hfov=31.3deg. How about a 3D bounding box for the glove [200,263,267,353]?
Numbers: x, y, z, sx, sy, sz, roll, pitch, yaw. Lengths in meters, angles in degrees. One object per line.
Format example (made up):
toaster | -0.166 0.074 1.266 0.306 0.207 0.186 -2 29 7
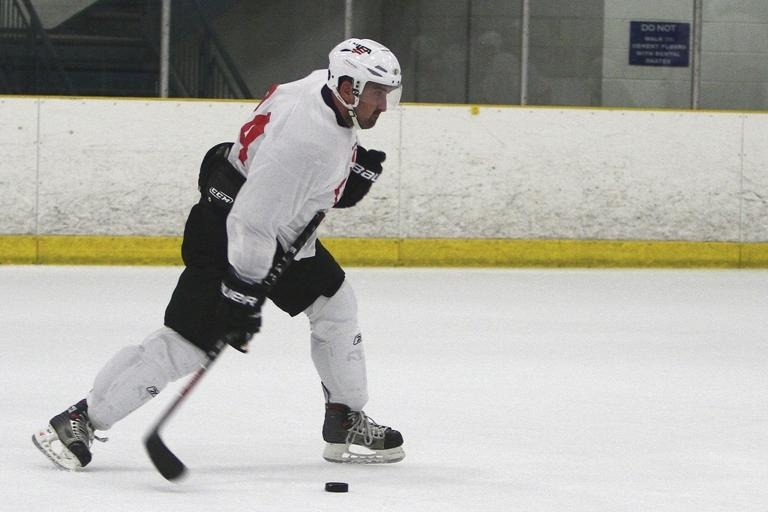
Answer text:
glove | -0.769 0.276 7.336 0.362 0.388 0.181 10 4 -5

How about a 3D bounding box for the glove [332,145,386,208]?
glove | -0.139 -0.389 7.565 0.258 0.338 0.115 35 10 -9

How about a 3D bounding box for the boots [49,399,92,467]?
boots | -1.681 0.917 7.422 0.239 0.343 0.126 2 9 -11

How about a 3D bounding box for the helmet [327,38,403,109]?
helmet | -0.109 -0.925 7.483 0.455 0.356 0.337 2 15 0

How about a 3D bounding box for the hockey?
hockey | -0.849 0.484 7.491 0.531 1.712 0.180 43 -1 -19
